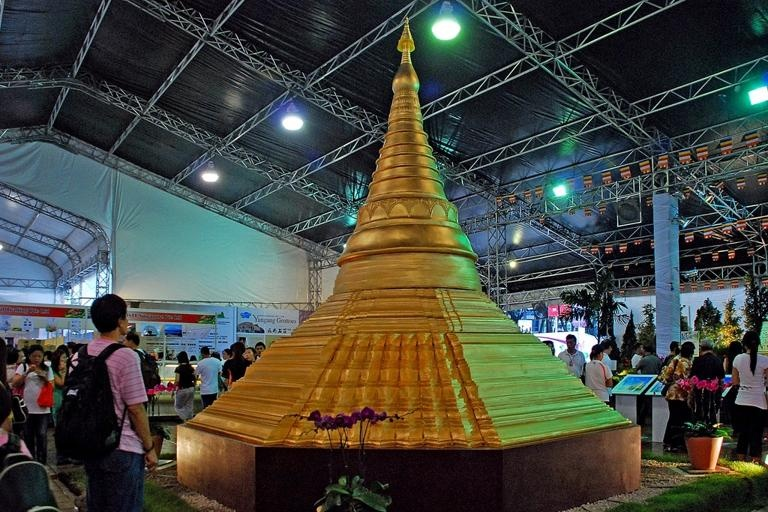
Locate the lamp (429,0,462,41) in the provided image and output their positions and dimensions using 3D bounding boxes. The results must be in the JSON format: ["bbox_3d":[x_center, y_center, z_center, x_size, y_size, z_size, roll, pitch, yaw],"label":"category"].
[{"bbox_3d":[1.471,-5.467,10.741,0.629,0.553,0.601,9,-12,-35],"label":"lamp"}]

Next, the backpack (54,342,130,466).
[{"bbox_3d":[-2.026,0.991,3.155,0.375,0.775,0.164,5,-13,-30],"label":"backpack"}]

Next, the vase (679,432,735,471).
[{"bbox_3d":[4.389,2.588,6.151,0.551,0.365,0.490,3,-19,2],"label":"vase"}]

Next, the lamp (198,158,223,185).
[{"bbox_3d":[-7.562,-3.666,19.490,0.870,0.750,0.790,3,-11,-3],"label":"lamp"}]

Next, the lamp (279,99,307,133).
[{"bbox_3d":[-3.107,-4.815,15.424,0.754,0.663,0.676,-1,-30,-1],"label":"lamp"}]
